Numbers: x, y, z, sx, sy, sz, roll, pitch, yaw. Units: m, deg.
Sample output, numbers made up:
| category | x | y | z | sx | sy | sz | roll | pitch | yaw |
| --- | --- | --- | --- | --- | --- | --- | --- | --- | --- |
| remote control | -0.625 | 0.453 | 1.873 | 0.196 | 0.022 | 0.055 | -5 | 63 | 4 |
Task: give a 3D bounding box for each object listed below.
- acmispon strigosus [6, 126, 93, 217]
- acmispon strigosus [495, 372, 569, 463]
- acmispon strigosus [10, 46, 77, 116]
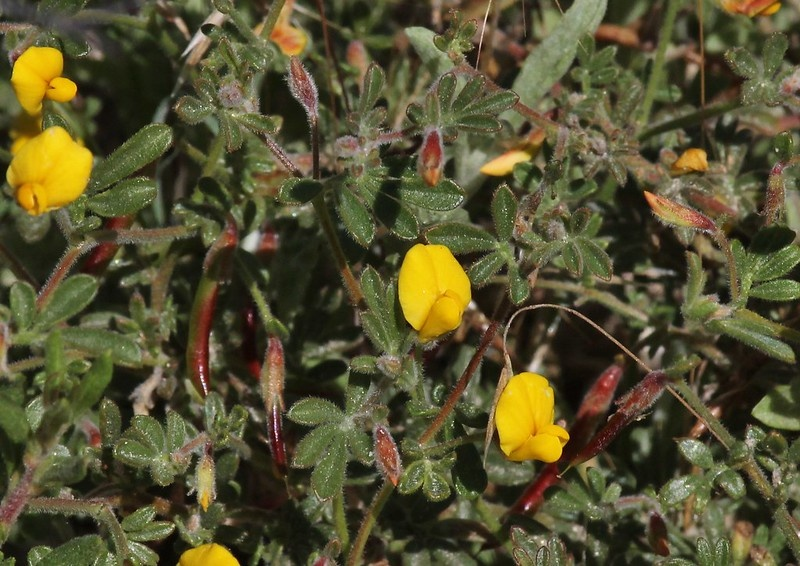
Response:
| category | x | y | z | sx | sy | sz | roll | pitch | yaw |
| --- | --- | --- | --- | --- | --- | --- | --- | --- | --- |
| acmispon strigosus | -0.812 | -0.264 | 1.925 | 0.168 | 0.218 | 0.079 | 19 | 4 | -4 |
| acmispon strigosus | 0.294 | 0.327 | 2.025 | 0.178 | 0.086 | 0.217 | -28 | 99 | -33 |
| acmispon strigosus | -0.895 | -0.531 | 2.136 | 0.148 | 0.089 | 0.175 | 34 | 45 | 1 |
